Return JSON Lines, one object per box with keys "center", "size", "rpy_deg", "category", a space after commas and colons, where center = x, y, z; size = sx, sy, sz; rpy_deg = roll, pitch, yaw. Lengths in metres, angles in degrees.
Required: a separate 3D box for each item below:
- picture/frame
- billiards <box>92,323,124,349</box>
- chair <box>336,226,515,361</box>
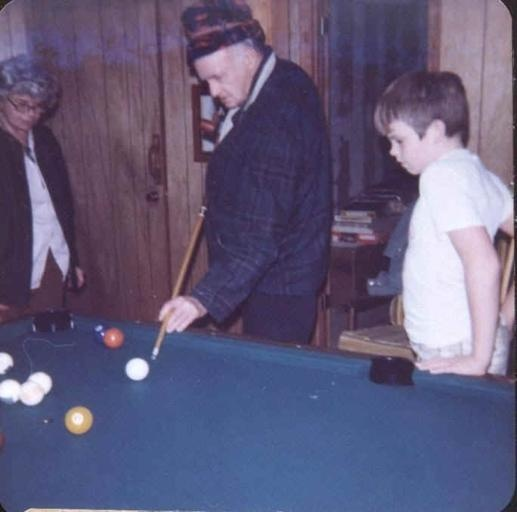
{"center": [-0.224, -0.668, 2.918], "size": [0.026, 0.405, 0.317], "rpy_deg": [-7, 12, -38], "category": "picture/frame"}
{"center": [-0.507, 0.255, 1.995], "size": [0.054, 0.058, 0.100], "rpy_deg": [-41, 33, -25], "category": "billiards"}
{"center": [0.622, 0.107, 2.209], "size": [0.496, 0.485, 0.546], "rpy_deg": [2, 10, 21], "category": "chair"}
